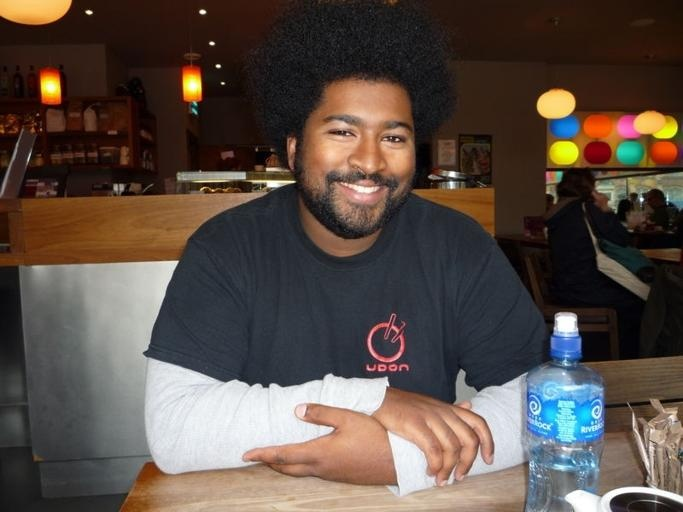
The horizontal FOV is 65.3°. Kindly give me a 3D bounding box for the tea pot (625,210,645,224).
[{"bbox_3d":[3.438,-0.451,6.246,0.173,0.120,0.174,-2,2,0],"label":"tea pot"}]

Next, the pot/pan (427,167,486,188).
[{"bbox_3d":[0.648,-0.418,2.848,0.365,0.132,0.256,1,1,4],"label":"pot/pan"}]

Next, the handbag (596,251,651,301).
[{"bbox_3d":[1.749,0.124,3.335,0.291,0.075,0.283,35,9,-7],"label":"handbag"}]

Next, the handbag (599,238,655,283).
[{"bbox_3d":[1.809,0.072,3.485,0.314,0.114,0.247,39,29,21],"label":"handbag"}]
